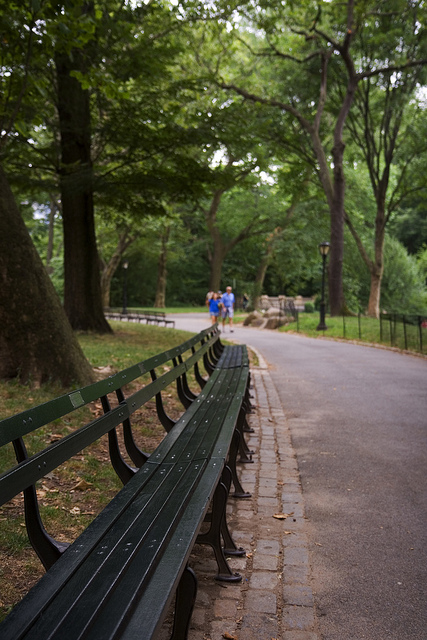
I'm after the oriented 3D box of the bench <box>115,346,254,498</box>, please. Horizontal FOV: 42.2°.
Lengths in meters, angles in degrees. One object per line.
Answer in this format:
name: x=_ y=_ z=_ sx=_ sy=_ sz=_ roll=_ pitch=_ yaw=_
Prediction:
bench: x=-0.078 y=0.627 z=4.436 sx=0.706 sy=0.755 sz=2.196 roll=6 pitch=11 yaw=14
